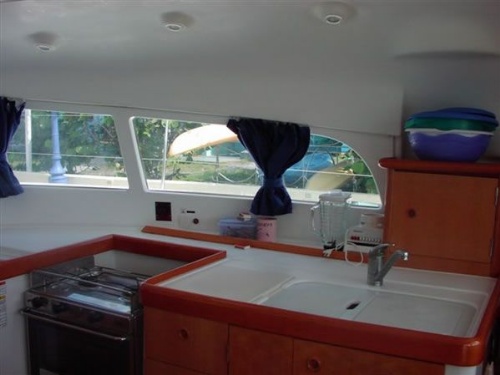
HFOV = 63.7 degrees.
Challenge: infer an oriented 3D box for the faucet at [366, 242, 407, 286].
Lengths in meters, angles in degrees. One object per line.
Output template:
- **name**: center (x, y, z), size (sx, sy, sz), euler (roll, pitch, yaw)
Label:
- **faucet**: center (0.631, 0.380, 1.889), size (0.090, 0.239, 0.283), euler (-1, 9, -4)

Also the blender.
- **blender**: center (0.576, 0.206, 2.494), size (0.526, 0.487, 0.330), euler (0, 8, 21)

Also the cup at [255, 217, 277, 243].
- **cup**: center (0.118, 0.302, 2.827), size (0.158, 0.162, 0.150), euler (0, 3, 0)
